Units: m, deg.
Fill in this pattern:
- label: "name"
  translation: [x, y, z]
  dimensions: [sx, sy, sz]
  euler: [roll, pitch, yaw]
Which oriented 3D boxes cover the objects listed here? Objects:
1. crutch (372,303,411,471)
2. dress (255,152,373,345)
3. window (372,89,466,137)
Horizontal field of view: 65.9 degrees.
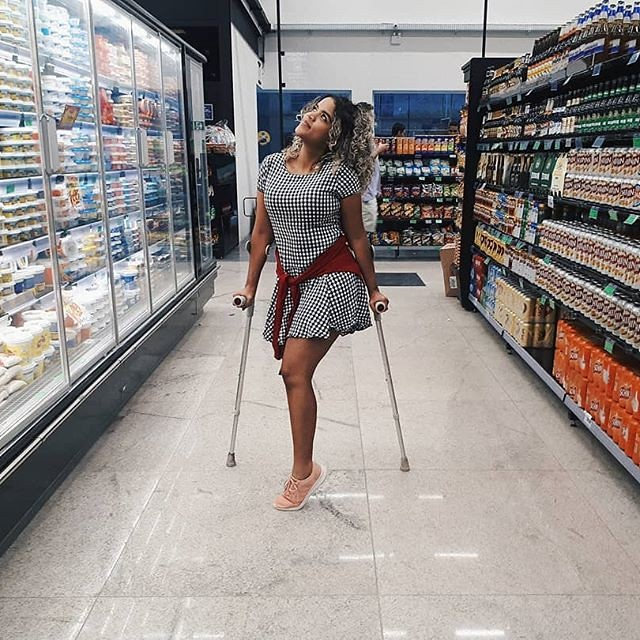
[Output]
- label: "crutch"
  translation: [0.333, 0.307, 2.311]
  dimensions: [0.100, 0.845, 0.081]
  euler: [-10, 5, 15]
- label: "dress"
  translation: [-0.051, -0.281, 2.028]
  dimensions: [0.487, 0.828, 0.395]
  euler: [1, 13, 9]
- label: "window"
  translation: [2.306, -4.902, 11.799]
  dimensions: [2.142, 1.128, 0.031]
  euler: [7, 49, 15]
